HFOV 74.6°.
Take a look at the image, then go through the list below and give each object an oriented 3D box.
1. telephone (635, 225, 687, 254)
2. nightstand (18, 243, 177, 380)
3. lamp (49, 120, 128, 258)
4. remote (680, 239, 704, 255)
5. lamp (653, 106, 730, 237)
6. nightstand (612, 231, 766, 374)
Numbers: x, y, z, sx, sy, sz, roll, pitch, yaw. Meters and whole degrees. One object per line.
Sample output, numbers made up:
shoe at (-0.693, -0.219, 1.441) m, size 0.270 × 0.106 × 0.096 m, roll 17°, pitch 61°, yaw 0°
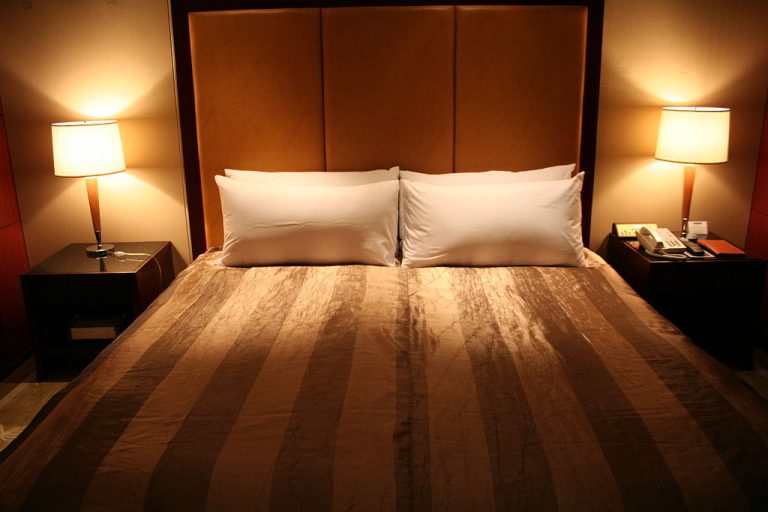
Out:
telephone at (1.689, -0.084, 3.126) m, size 0.166 × 0.085 × 0.220 m, roll -2°, pitch 27°, yaw 0°
nightstand at (-1.630, 0.453, 3.511) m, size 1.044 × 1.022 × 0.788 m, roll -2°, pitch 18°, yaw -3°
lamp at (-1.854, -0.441, 3.249) m, size 0.402 × 0.843 × 0.338 m, roll -8°, pitch 16°, yaw -25°
remote at (1.898, -0.056, 3.104) m, size 0.084 × 0.030 × 0.129 m, roll 2°, pitch 22°, yaw 8°
lamp at (1.956, -0.551, 3.273) m, size 0.408 × 0.823 × 0.331 m, roll 3°, pitch 15°, yaw 17°
nightstand at (1.922, 0.224, 3.399) m, size 0.966 × 0.883 × 0.728 m, roll 0°, pitch 26°, yaw 5°
